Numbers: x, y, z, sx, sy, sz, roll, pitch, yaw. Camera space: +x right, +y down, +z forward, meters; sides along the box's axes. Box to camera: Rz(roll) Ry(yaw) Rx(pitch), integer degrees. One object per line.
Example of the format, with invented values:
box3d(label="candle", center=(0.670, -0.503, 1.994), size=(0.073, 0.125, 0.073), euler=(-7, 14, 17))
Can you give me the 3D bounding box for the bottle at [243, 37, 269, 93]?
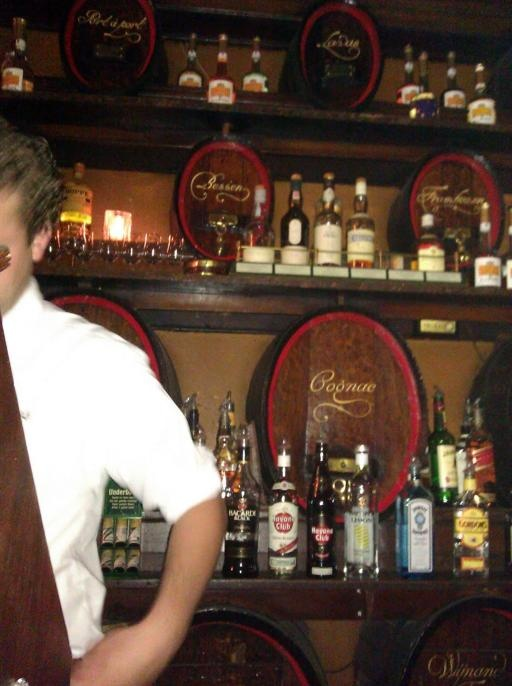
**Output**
box3d(label="bottle", center=(0.004, -0.895, 2.630), size=(0.087, 0.086, 0.197), euler=(1, 93, -28))
